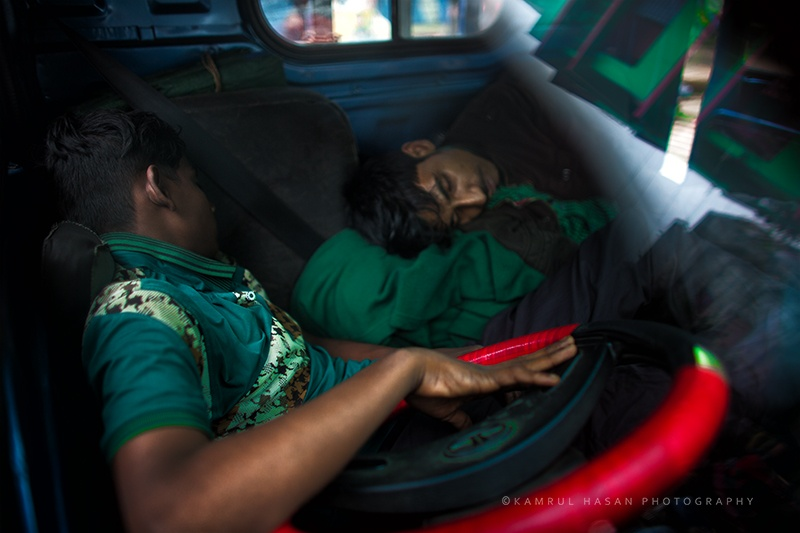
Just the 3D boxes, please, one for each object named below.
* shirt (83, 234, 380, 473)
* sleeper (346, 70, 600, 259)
[{"bbox_3d":[-0.423,0.220,1.362,0.347,0.300,0.512,52,8,-7],"label":"shirt"},{"bbox_3d":[0.297,-0.414,2.279,0.639,0.582,0.327,-33,24,-15],"label":"sleeper"}]
